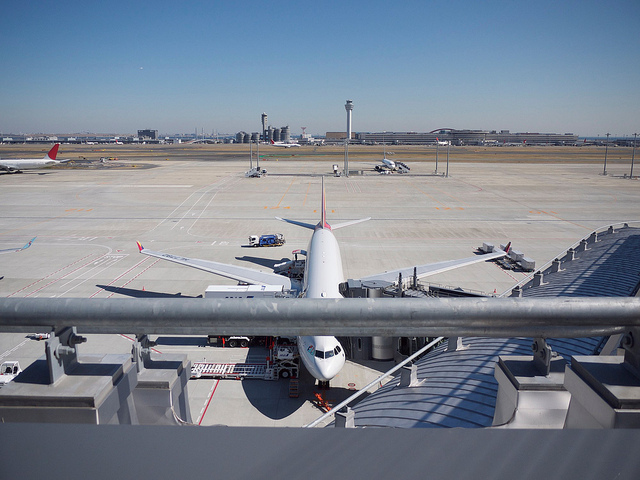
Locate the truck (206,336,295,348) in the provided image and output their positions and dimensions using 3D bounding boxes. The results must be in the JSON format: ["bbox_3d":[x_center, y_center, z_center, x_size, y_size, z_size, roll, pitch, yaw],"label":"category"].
[{"bbox_3d":[-2.990,4.344,24.798,2.641,0.481,2.542,7,-14,-28],"label":"truck"}]

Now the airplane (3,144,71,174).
[{"bbox_3d":[-49.585,-13.209,99.218,9.673,2.262,8.030,-1,15,-17],"label":"airplane"}]

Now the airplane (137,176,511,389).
[{"bbox_3d":[0.041,0.997,27.759,19.209,3.900,14.670,1,22,-2],"label":"airplane"}]
